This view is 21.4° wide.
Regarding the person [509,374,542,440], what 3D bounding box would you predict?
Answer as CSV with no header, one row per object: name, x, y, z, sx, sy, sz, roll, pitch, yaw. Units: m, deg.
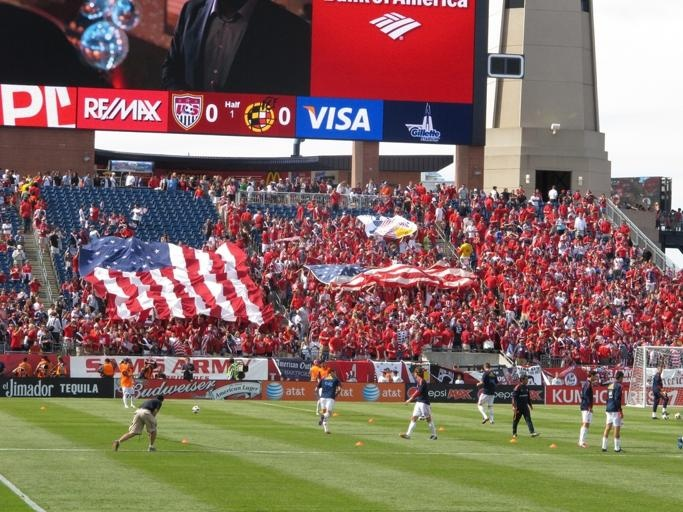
person,7.502,6.109,74.631,1.033,2.537,1.041,2,4,-3

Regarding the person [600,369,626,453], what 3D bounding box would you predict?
person,10.731,5.922,71.891,1.029,3.484,0.882,3,4,20

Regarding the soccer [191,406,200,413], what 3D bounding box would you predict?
soccer,-6.342,6.481,77.794,0.264,0.316,0.279,2,0,31

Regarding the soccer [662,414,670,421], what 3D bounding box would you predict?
soccer,14.609,7.163,81.747,0.161,0.234,0.209,-13,-34,24

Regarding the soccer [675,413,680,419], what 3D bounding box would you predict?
soccer,15.114,7.006,81.473,0.185,0.280,0.260,0,-17,10

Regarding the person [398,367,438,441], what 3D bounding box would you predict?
person,3.055,5.883,73.022,1.400,3.010,0.953,1,-22,2

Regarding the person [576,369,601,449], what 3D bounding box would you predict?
person,9.874,5.845,72.570,1.082,3.595,0.995,0,4,9
